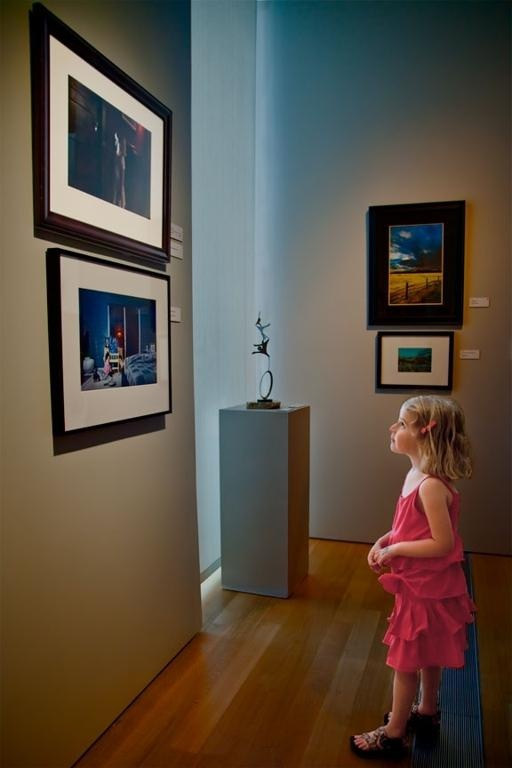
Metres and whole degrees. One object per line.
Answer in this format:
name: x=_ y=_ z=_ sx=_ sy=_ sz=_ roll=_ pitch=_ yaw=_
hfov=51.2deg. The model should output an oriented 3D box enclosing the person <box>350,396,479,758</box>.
person: x=0.507 y=0.637 z=1.732 sx=0.374 sy=1.166 sz=0.333 roll=0 pitch=0 yaw=27
